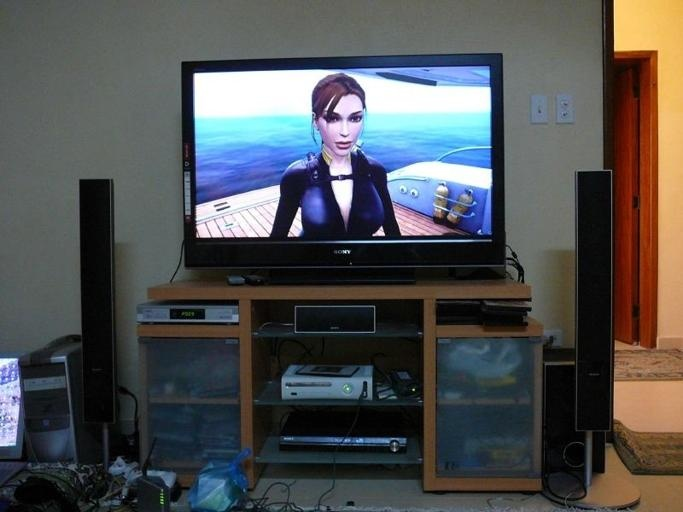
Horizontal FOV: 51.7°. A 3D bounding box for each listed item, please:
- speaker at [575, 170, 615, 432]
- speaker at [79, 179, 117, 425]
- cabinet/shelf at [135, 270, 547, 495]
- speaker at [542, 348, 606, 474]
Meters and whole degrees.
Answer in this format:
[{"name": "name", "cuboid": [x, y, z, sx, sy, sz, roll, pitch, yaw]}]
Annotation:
[{"name": "speaker", "cuboid": [1.285, 0.230, 3.593, 0.197, 1.319, 0.101, -1, 3, 10]}, {"name": "speaker", "cuboid": [-1.288, 0.240, 3.745, 0.200, 1.289, 0.147, -3, 3, -19]}, {"name": "cabinet/shelf", "cuboid": [-0.010, 0.735, 3.958, 2.142, 1.077, 0.664, 0, 0, -1]}, {"name": "speaker", "cuboid": [1.386, 0.899, 3.899, 0.333, 0.634, 0.327, -15, -10, 17]}]
